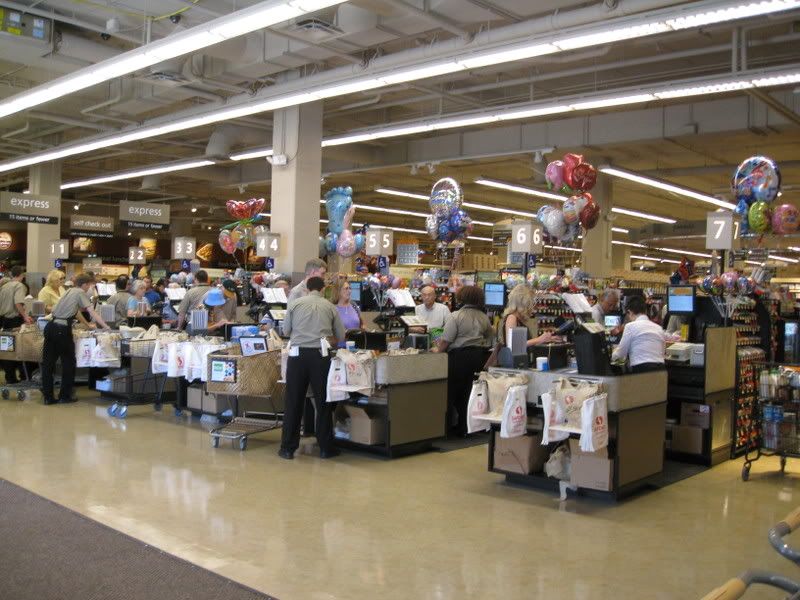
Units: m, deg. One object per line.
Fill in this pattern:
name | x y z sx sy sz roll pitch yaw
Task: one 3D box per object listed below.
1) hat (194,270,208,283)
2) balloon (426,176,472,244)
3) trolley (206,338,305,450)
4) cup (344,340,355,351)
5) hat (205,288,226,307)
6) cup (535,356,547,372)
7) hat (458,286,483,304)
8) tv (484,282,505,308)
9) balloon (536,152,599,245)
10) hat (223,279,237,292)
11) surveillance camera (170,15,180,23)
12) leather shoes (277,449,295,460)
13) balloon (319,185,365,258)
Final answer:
hat | -2.945 -0.373 10.029 0.183 0.197 0.296 4 -18 -20
balloon | 0.809 -1.497 11.251 0.592 1.133 0.679 0 4 -19
trolley | -1.662 1.093 8.041 0.861 1.231 1.341 3 8 20
cup | -0.530 0.496 7.262 0.126 0.118 0.069 0 0 -29
hat | -2.469 -0.020 9.069 0.258 0.083 0.253 -6 15 -45
cup | 1.365 0.613 6.498 0.112 0.115 0.110 0 -3 0
hat | 0.865 -0.057 8.275 0.248 0.163 0.244 -1 2 -6
tv | 1.319 -0.065 9.426 0.343 0.425 0.235 2 1 27
balloon | 2.703 -1.653 10.757 0.867 1.390 0.744 2 4 15
hat | -2.371 -0.204 9.453 0.128 0.165 0.161 0 0 22
surveillance camera | -3.127 -3.922 9.398 0.082 0.047 0.110 -3 1 -8
leather shoes | -1.229 1.655 7.274 0.184 0.092 0.159 1 4 -4
balloon | -0.918 -1.312 11.126 0.623 1.203 1.116 1 4 -6
